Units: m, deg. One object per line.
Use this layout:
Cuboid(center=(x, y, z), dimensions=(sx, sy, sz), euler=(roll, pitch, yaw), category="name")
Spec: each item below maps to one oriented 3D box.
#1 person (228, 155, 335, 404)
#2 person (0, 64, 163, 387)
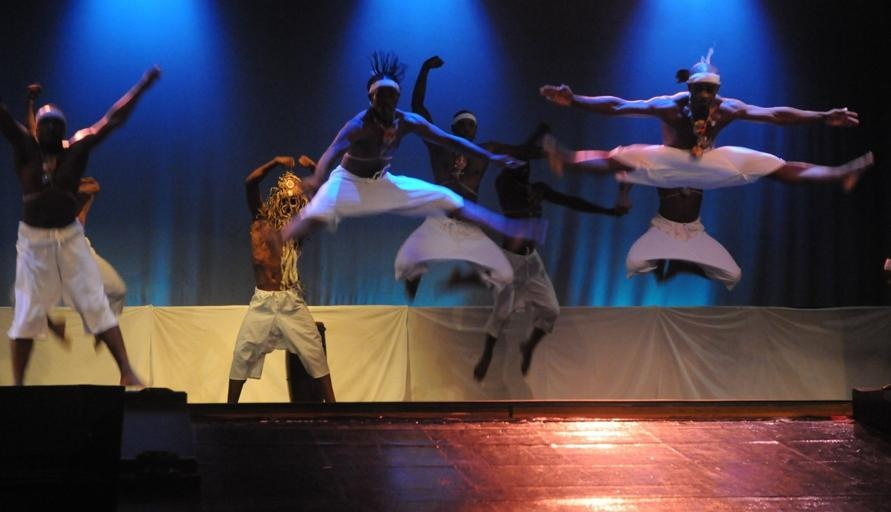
Cuboid(center=(-1.342, 0.256, 6.307), dimensions=(0.797, 1.785, 0.611), euler=(-1, 13, -10), category="person")
Cuboid(center=(-2.831, -0.109, 5.921), dimensions=(0.970, 2.232, 0.682), euler=(-2, 13, -14), category="person")
